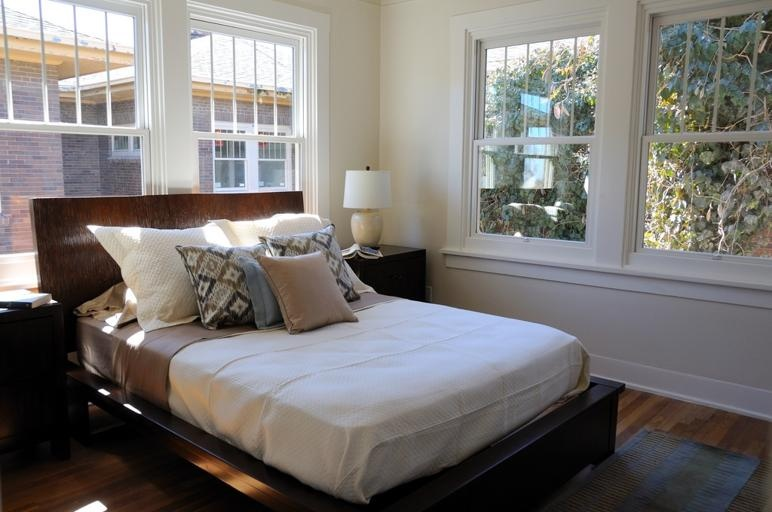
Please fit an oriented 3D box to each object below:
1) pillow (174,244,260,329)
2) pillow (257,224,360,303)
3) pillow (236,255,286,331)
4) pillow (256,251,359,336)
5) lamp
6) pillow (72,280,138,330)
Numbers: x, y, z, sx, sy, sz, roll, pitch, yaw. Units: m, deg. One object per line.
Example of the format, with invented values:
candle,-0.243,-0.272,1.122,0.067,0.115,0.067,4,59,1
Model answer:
pillow,-1.064,0.171,3.311,0.543,0.507,0.169,-9,-7,-45
pillow,-0.548,0.053,3.527,0.209,0.434,0.555,-6,3,36
pillow,-0.808,0.221,3.276,0.119,0.373,0.407,-22,-19,19
pillow,-0.482,0.228,3.246,0.515,0.500,0.156,-2,-27,-42
lamp,-0.210,-0.446,4.872,0.473,0.752,0.455,-3,8,-17
pillow,-1.861,0.283,3.514,0.332,0.101,0.330,19,17,24
